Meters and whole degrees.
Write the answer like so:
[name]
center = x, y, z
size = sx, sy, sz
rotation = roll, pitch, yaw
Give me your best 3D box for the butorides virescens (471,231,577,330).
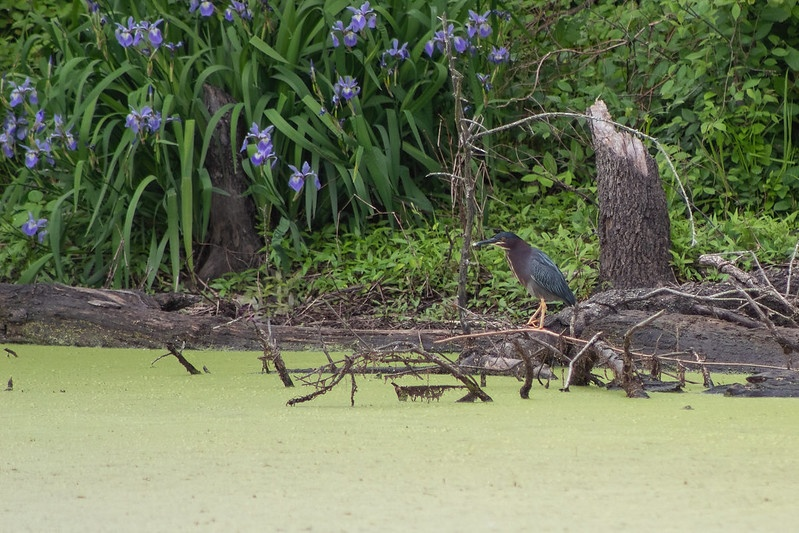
[butorides virescens]
center = 0.996, 0.098, 7.678
size = 0.739, 0.752, 0.294
rotation = -3, 7, -14
